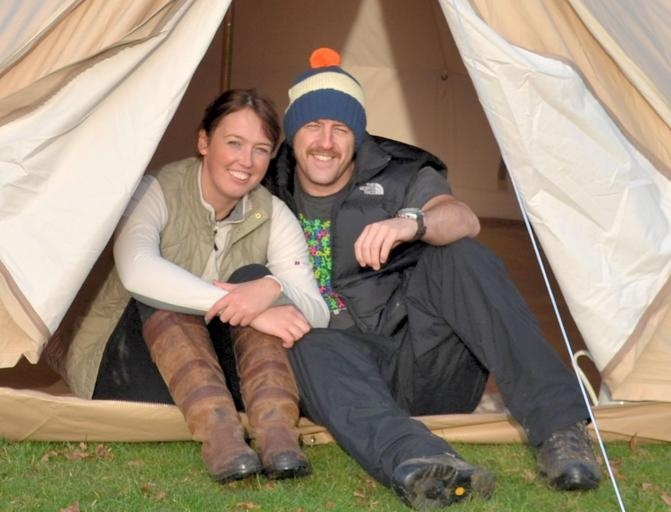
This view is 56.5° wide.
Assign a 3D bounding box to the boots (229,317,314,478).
[{"bbox_3d":[-0.257,0.515,2.340,0.171,0.278,0.607,-9,34,-13],"label":"boots"}]

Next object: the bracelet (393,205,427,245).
[{"bbox_3d":[0.298,-0.132,2.568,0.141,0.152,0.098,24,40,34],"label":"bracelet"}]

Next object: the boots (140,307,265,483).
[{"bbox_3d":[-0.479,0.492,2.223,0.244,0.236,0.859,-9,51,-19],"label":"boots"}]

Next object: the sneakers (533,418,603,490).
[{"bbox_3d":[0.821,0.725,2.207,0.180,0.162,0.190,-3,29,-3],"label":"sneakers"}]

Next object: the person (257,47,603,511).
[{"bbox_3d":[0.296,0.041,2.593,1.046,1.206,1.725,-7,29,-10],"label":"person"}]

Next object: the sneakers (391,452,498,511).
[{"bbox_3d":[0.352,0.733,2.008,0.264,0.173,0.110,-3,31,-5],"label":"sneakers"}]

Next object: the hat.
[{"bbox_3d":[-0.056,-0.774,3.141,0.390,0.403,0.436,0,7,-2],"label":"hat"}]
